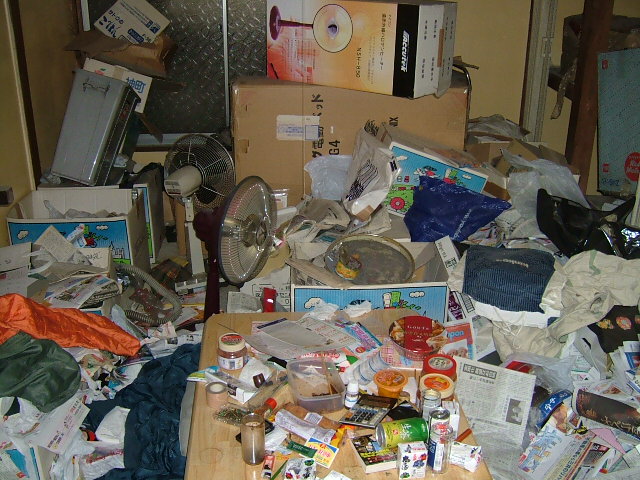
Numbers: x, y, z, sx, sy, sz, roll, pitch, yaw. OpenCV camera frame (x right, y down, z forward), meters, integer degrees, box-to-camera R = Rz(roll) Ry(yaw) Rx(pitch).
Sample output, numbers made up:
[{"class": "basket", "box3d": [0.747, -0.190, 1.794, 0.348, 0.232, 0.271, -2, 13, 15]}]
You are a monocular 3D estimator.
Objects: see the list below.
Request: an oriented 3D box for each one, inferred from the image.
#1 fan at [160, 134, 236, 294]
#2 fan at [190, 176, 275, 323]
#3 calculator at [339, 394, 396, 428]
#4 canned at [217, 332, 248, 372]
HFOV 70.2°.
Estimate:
[{"class": "fan", "box3d": [-0.872, -0.240, 3.310, 0.295, 0.974, 0.420, -11, 29, -27]}, {"class": "fan", "box3d": [-0.427, 0.055, 2.282, 0.378, 0.817, 0.340, -8, 28, -21]}, {"class": "calculator", "box3d": [0.161, 0.559, 1.538, 0.146, 0.208, 0.045, 12, 36, -16]}, {"class": "canned", "box3d": [-0.328, 0.430, 1.779, 0.111, 0.118, 0.119, 2, 19, -1]}]
